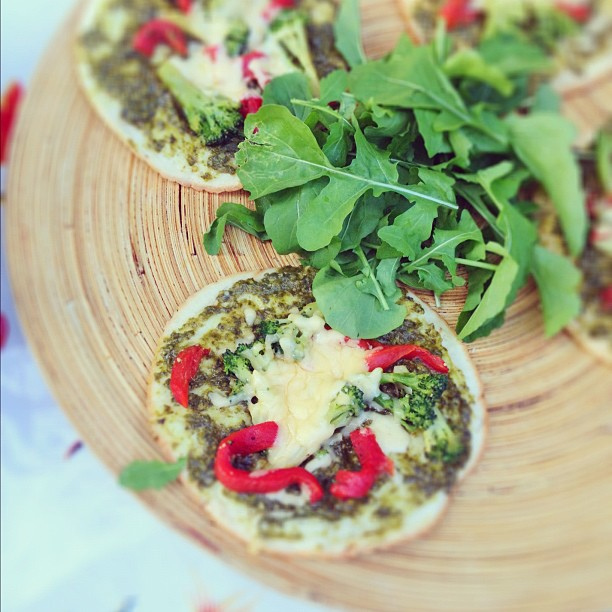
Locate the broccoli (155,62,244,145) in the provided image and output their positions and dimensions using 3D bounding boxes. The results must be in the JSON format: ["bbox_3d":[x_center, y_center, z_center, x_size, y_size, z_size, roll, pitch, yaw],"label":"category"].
[{"bbox_3d":[-0.306,-0.565,1.905,0.279,0.059,0.112,10,44,-8],"label":"broccoli"}]

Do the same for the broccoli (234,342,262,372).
[{"bbox_3d":[-0.155,0.134,1.869,0.082,0.041,0.052,37,54,7],"label":"broccoli"}]

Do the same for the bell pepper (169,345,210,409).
[{"bbox_3d":[-0.309,0.176,1.806,0.075,0.049,0.165,18,79,4],"label":"bell pepper"}]

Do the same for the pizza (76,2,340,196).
[{"bbox_3d":[-0.258,-0.551,1.895,0.686,0.093,0.523,0,78,0],"label":"pizza"}]

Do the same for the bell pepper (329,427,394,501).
[{"bbox_3d":[0.146,0.400,1.794,0.133,0.063,0.193,16,79,4],"label":"bell pepper"}]

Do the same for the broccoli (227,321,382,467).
[{"bbox_3d":[0.025,0.211,1.851,0.492,0.132,0.401,2,68,21],"label":"broccoli"}]

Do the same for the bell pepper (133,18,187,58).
[{"bbox_3d":[-0.381,-0.708,1.898,0.136,0.046,0.112,31,84,-4],"label":"bell pepper"}]

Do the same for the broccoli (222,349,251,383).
[{"bbox_3d":[-0.185,0.148,1.813,0.064,0.028,0.079,-32,87,-20],"label":"broccoli"}]

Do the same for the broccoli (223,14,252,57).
[{"bbox_3d":[-0.187,-0.715,1.912,0.088,0.030,0.100,0,89,-6],"label":"broccoli"}]

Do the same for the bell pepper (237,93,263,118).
[{"bbox_3d":[-0.153,-0.525,1.887,0.066,0.026,0.060,13,85,1],"label":"bell pepper"}]

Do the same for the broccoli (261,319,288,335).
[{"bbox_3d":[-0.087,0.053,1.829,0.048,0.048,0.023,-11,96,10],"label":"broccoli"}]

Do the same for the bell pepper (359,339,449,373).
[{"bbox_3d":[0.250,0.130,1.850,0.229,0.058,0.084,0,79,1],"label":"bell pepper"}]

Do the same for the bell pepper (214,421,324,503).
[{"bbox_3d":[-0.106,0.409,1.768,0.185,0.126,0.232,-29,80,-4],"label":"bell pepper"}]
